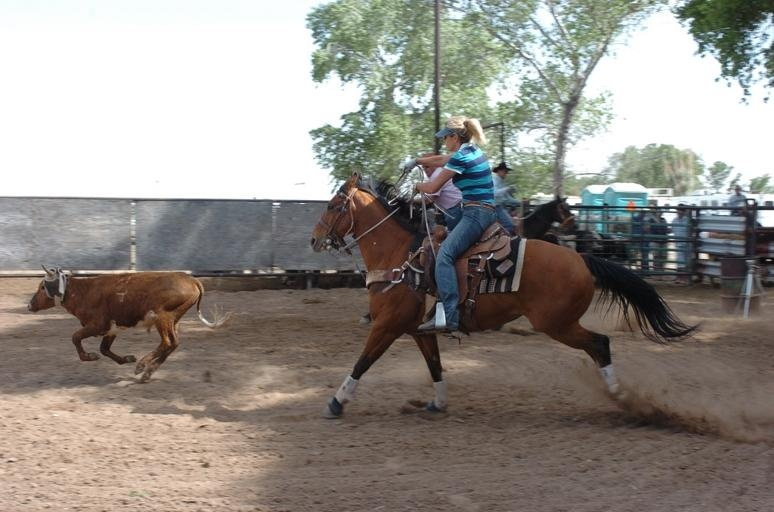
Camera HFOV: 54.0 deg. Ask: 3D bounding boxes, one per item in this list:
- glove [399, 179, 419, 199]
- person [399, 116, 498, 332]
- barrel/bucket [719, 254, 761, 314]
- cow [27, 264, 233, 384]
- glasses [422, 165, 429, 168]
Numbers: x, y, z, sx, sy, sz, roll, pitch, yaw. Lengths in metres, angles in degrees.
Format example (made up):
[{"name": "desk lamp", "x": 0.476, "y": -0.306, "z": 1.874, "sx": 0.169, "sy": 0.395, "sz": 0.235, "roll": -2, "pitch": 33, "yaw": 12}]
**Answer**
[{"name": "glove", "x": 0.301, "y": -0.870, "z": 9.962, "sx": 0.321, "sy": 0.249, "sz": 0.092, "roll": 1, "pitch": -41, "yaw": 24}, {"name": "person", "x": 0.823, "y": -0.391, "z": 9.430, "sx": 0.813, "sy": 2.701, "sz": 0.906, "roll": 3, "pitch": 8, "yaw": 25}, {"name": "barrel/bucket", "x": 6.881, "y": 0.566, "z": 14.796, "sx": 0.746, "sy": 1.091, "sz": 1.084, "roll": 2, "pitch": 6, "yaw": 20}, {"name": "cow", "x": -3.829, "y": 0.883, "z": 10.708, "sx": 2.118, "sy": 1.359, "sz": 0.639, "roll": 1, "pitch": 7, "yaw": 13}, {"name": "glasses", "x": 0.519, "y": -1.180, "z": 10.084, "sx": 0.054, "sy": 0.033, "sz": 0.035, "roll": 8, "pitch": -10, "yaw": -41}]
